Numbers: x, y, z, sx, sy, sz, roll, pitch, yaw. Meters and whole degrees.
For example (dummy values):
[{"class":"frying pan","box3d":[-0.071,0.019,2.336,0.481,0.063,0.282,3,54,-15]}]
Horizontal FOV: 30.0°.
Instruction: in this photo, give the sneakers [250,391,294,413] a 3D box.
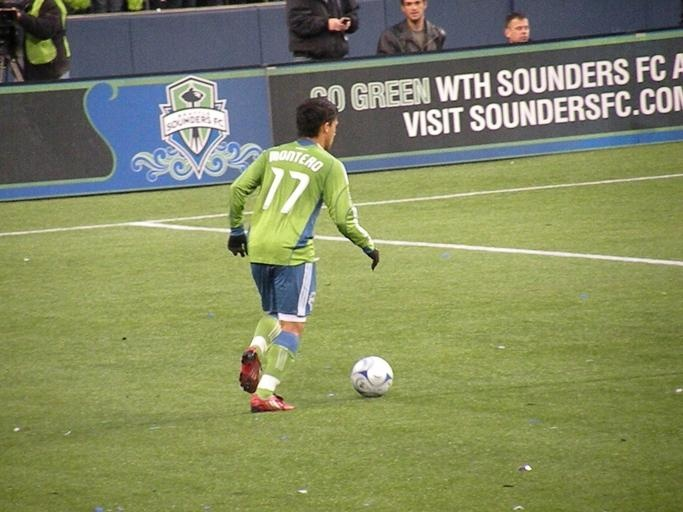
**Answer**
[{"class":"sneakers","box3d":[-0.601,1.245,10.692,0.327,0.117,0.155,-1,1,-4]}]

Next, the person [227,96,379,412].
[{"class":"person","box3d":[-0.306,-0.049,10.893,1.237,2.501,1.179,-5,15,-2]}]

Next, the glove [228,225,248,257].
[{"class":"glove","box3d":[-0.929,-0.134,11.504,0.219,0.255,0.099,7,6,2]}]

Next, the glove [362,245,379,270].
[{"class":"glove","box3d":[0.227,0.018,11.133,0.161,0.148,0.203,-4,-8,16]}]

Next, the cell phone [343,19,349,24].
[{"class":"cell phone","box3d":[0.070,-3.546,19.048,0.076,0.102,0.196,-2,14,7]}]

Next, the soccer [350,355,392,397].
[{"class":"soccer","box3d":[0.257,1.039,10.864,0.348,0.336,0.177,-4,15,0]}]
